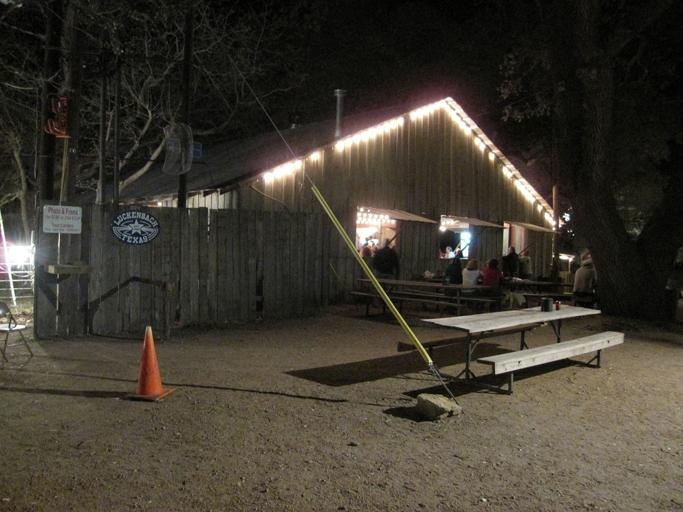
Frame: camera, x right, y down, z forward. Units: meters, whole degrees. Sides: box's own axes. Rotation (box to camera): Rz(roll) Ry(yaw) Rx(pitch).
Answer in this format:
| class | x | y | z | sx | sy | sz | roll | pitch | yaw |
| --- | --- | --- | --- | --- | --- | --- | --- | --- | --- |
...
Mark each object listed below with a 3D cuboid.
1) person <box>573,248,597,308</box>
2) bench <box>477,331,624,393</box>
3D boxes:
| class | x | y | z | sx | sy | sz | roll | pitch | yaw |
| --- | --- | --- | --- | --- | --- | --- | --- | --- | --- |
| person | 6.425 | 0.663 | 15.154 | 0.554 | 1.140 | 2.194 | 6 | 11 | 24 |
| bench | 3.284 | 1.624 | 8.881 | 3.207 | 0.612 | 0.467 | -3 | 11 | -35 |
